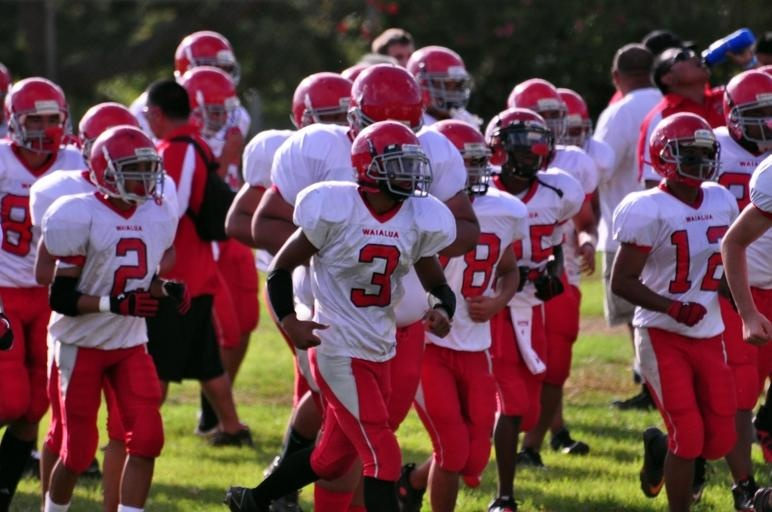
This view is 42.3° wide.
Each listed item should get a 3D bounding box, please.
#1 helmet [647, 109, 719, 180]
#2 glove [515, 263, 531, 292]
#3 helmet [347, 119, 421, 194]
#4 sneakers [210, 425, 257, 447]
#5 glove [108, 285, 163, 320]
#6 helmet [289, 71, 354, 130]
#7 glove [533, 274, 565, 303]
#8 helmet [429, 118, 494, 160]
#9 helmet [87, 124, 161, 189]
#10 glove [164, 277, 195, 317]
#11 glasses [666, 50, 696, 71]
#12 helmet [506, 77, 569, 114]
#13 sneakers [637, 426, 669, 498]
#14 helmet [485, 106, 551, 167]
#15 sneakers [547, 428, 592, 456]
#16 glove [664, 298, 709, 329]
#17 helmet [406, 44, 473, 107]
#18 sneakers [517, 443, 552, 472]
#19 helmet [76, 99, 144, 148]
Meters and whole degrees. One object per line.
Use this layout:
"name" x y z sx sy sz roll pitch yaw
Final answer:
"helmet" 1.842 -0.686 6.200 0.363 0.406 0.495 -1 7 -18
"glove" 0.883 0.133 6.422 0.090 0.151 0.115 7 0 41
"helmet" 0.017 -0.537 5.407 0.476 0.383 0.387 7 10 30
"sneakers" -1.153 1.337 7.483 0.348 0.160 0.141 2 -2 21
"glove" -1.421 0.268 5.644 0.269 0.123 0.133 5 -3 0
"helmet" -0.396 -0.934 6.166 0.465 0.387 0.370 8 18 27
"glove" 1.054 0.205 6.468 0.179 0.163 0.082 4 -3 18
"helmet" 0.460 -0.717 6.012 0.385 0.268 0.315 6 -3 -16
"helmet" -1.522 -0.569 5.810 0.455 0.379 0.343 10 14 30
"glove" -1.209 0.212 5.816 0.146 0.118 0.316 -10 24 -15
"glasses" 2.257 -1.513 7.714 0.190 0.058 0.191 -42 -16 29
"helmet" 1.086 -1.144 7.163 0.256 0.287 0.335 -7 5 -37
"sneakers" 1.686 1.309 6.371 0.150 0.448 0.190 -1 13 -10
"helmet" 0.870 -0.798 6.547 0.405 0.377 0.469 -4 6 -12
"sneakers" 1.303 1.343 7.154 0.119 0.149 0.331 5 -8 -35
"glove" 1.747 0.331 5.803 0.170 0.149 0.081 22 46 12
"helmet" 0.339 -1.287 7.270 0.587 0.477 0.501 9 8 27
"sneakers" 1.005 1.401 6.873 0.252 0.109 0.088 2 -12 44
"helmet" -1.731 -0.807 6.384 0.428 0.359 0.329 -3 21 -13
